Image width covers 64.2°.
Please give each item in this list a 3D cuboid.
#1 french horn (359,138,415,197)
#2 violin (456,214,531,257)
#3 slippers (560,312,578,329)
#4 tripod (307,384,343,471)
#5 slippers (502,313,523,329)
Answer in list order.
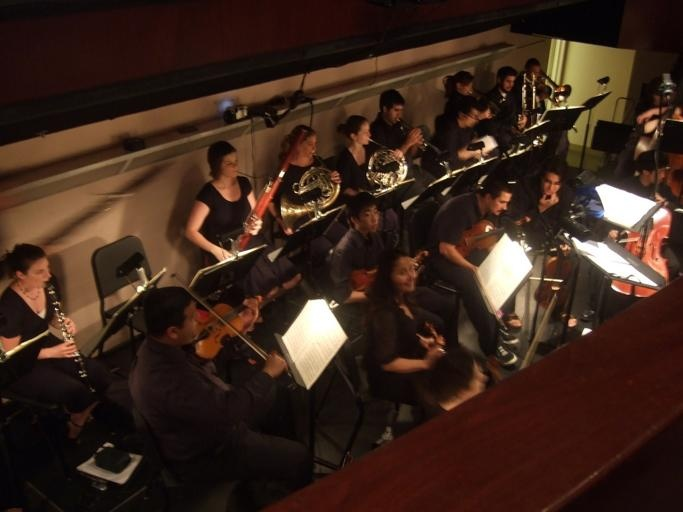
[{"bbox_3d":[0.489,-0.961,5.905,0.474,0.528,0.290,-17,30,-35],"label":"french horn"},{"bbox_3d":[1.460,-0.204,5.074,0.702,0.339,0.250,-20,13,-2],"label":"violin"},{"bbox_3d":[2.044,0.585,4.894,0.150,0.039,0.141,-23,51,-26],"label":"slippers"},{"bbox_3d":[-0.186,1.189,3.634,0.207,0.575,0.481,2,22,2],"label":"tripod"},{"bbox_3d":[1.542,0.589,4.894,0.159,0.068,0.120,11,47,13],"label":"slippers"}]
